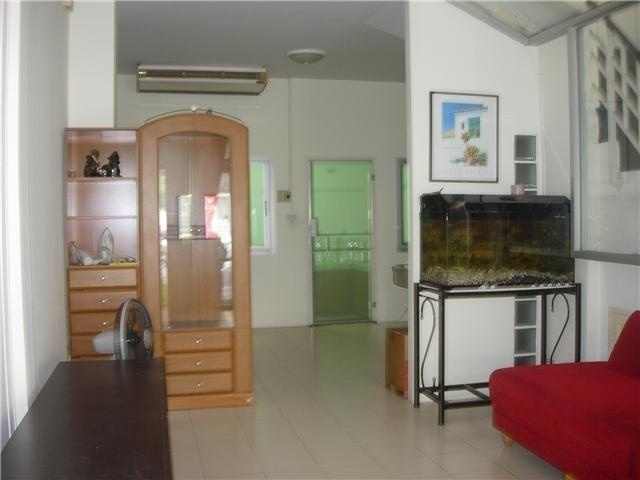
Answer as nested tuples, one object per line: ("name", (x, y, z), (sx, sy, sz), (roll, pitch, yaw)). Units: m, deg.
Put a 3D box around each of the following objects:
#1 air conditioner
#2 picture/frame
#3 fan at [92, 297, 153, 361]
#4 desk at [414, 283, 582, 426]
("air conditioner", (-1.588, -2.197, 6.868), (1.685, 0.322, 0.572), (-1, 4, -14))
("picture/frame", (1.248, -0.936, 4.514), (0.770, 0.945, 0.032), (-1, 4, -5))
("fan", (-1.409, 0.635, 3.602), (0.310, 0.388, 0.472), (-9, 10, 2))
("desk", (1.647, 0.924, 4.454), (1.138, 0.936, 0.471), (2, -8, -30))
